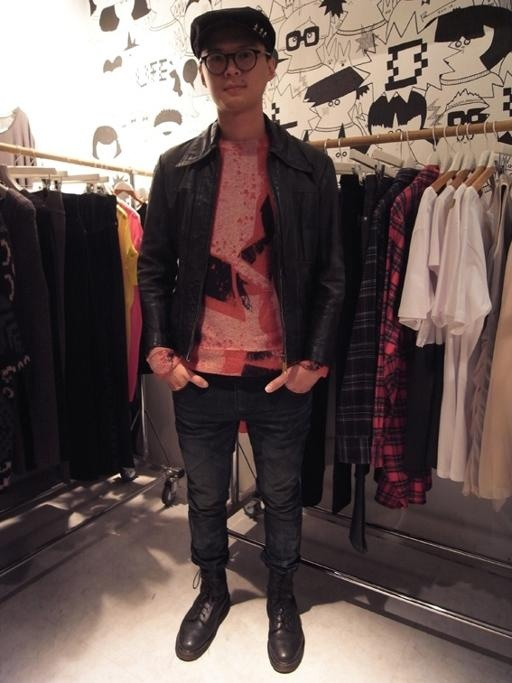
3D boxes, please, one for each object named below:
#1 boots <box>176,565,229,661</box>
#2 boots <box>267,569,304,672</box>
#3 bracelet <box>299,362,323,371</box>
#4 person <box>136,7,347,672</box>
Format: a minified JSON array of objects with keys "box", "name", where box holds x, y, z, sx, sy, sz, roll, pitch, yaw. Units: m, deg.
[{"box":[-0.119,0.771,1.469,0.089,0.171,0.254,3,8,15],"name":"boots"},{"box":[0.077,0.765,1.390,0.082,0.166,0.247,-1,12,3],"name":"boots"},{"box":[0.132,0.059,1.215,0.025,0.014,0.034,17,6,38],"name":"bracelet"},{"box":[-0.046,0.056,1.302,0.522,1.626,0.294,3,7,26],"name":"person"}]
